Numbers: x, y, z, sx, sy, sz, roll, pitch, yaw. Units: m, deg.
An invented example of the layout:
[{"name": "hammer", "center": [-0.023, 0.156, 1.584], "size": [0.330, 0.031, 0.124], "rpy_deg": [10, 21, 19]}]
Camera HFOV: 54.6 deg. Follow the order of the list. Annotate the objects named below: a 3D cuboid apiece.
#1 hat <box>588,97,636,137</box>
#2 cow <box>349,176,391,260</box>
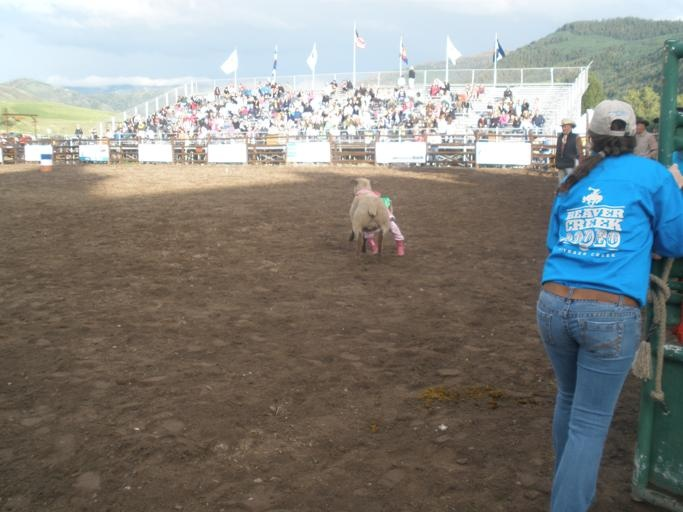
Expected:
[{"name": "hat", "center": [1.832, -0.926, 4.472], "size": [0.227, 0.178, 0.324], "rpy_deg": [4, 31, 17]}, {"name": "cow", "center": [0.357, -0.885, 10.849], "size": [0.455, 0.870, 1.522], "rpy_deg": [-3, 26, -5]}]
